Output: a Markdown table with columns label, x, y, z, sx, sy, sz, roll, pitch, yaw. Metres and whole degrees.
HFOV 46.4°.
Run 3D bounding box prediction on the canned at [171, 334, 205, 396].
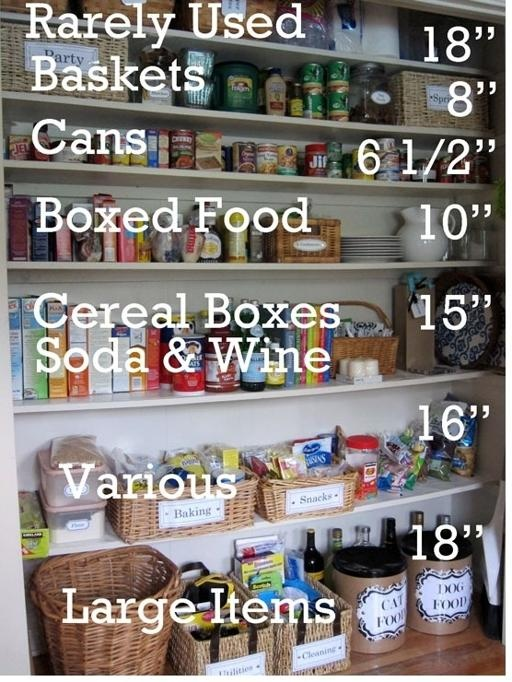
| label | x | y | z | sx | sy | sz | roll | pitch | yaw |
| --- | --- | --- | --- | --- | --- | --- | --- | --- | --- |
| canned | -0.215 | 0.072 | 1.830 | 0.159 | 0.177 | 0.153 | -1 | 2 | -22 |

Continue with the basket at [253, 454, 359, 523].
| label | x | y | z | sx | sy | sz | roll | pitch | yaw |
| --- | --- | --- | --- | --- | --- | --- | --- | --- | --- |
| basket | 0.164 | 0.472 | 1.873 | 0.231 | 0.087 | 0.158 | 0 | -2 | -21 |

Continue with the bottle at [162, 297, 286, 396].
| label | x | y | z | sx | sy | sz | roll | pitch | yaw |
| --- | --- | --- | --- | --- | --- | --- | --- | --- | --- |
| bottle | -0.105 | 0.029 | 1.866 | 0.350 | 0.261 | 0.118 | 0 | -1 | -29 |

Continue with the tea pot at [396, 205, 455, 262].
| label | x | y | z | sx | sy | sz | roll | pitch | yaw |
| --- | --- | --- | --- | --- | --- | --- | --- | --- | --- |
| tea pot | 0.584 | -0.376 | 2.099 | 0.173 | 0.200 | 0.223 | -7 | 7 | -39 |

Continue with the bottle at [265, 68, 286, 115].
| label | x | y | z | sx | sy | sz | roll | pitch | yaw |
| --- | --- | --- | --- | --- | --- | --- | --- | --- | --- |
| bottle | 0.057 | -0.765 | 1.836 | 0.066 | 0.144 | 0.056 | -4 | 8 | 0 |

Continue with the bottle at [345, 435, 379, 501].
| label | x | y | z | sx | sy | sz | roll | pitch | yaw |
| --- | --- | --- | --- | --- | --- | --- | --- | --- | --- |
| bottle | 0.349 | 0.449 | 2.109 | 0.150 | 0.213 | 0.152 | 1 | -1 | 0 |

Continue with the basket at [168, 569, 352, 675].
| label | x | y | z | sx | sy | sz | roll | pitch | yaw |
| --- | --- | --- | --- | --- | --- | --- | --- | --- | --- |
| basket | 0.047 | 0.860 | 1.712 | 0.356 | 0.130 | 0.341 | 3 | -8 | -22 |

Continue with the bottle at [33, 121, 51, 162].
| label | x | y | z | sx | sy | sz | roll | pitch | yaw |
| --- | --- | --- | --- | --- | --- | --- | --- | --- | --- |
| bottle | -0.571 | -0.522 | 1.584 | 0.043 | 0.098 | 0.086 | -3 | 8 | 3 |

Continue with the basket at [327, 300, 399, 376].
| label | x | y | z | sx | sy | sz | roll | pitch | yaw |
| --- | --- | --- | --- | --- | --- | --- | --- | --- | --- |
| basket | 0.365 | -0.018 | 2.209 | 0.292 | 0.258 | 0.201 | 0 | 1 | -5 |

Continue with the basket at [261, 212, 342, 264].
| label | x | y | z | sx | sy | sz | roll | pitch | yaw |
| --- | --- | --- | --- | --- | --- | --- | --- | --- | --- |
| basket | 0.221 | -0.336 | 1.995 | 0.290 | 0.157 | 0.287 | 8 | 11 | 37 |

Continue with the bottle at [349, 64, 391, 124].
| label | x | y | z | sx | sy | sz | roll | pitch | yaw |
| --- | --- | --- | --- | --- | --- | --- | --- | --- | --- |
| bottle | 0.385 | -0.853 | 2.066 | 0.152 | 0.180 | 0.195 | -8 | 17 | -15 |

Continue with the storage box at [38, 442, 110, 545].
| label | x | y | z | sx | sy | sz | roll | pitch | yaw |
| --- | --- | --- | --- | --- | --- | --- | --- | --- | --- |
| storage box | -0.560 | 0.418 | 1.701 | 0.195 | 0.276 | 0.285 | -2 | 5 | -23 |

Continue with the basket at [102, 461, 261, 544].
| label | x | y | z | sx | sy | sz | roll | pitch | yaw |
| --- | --- | --- | --- | --- | --- | --- | --- | --- | --- |
| basket | -0.223 | 0.461 | 1.766 | 0.306 | 0.105 | 0.217 | 0 | -3 | -23 |

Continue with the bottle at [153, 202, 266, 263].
| label | x | y | z | sx | sy | sz | roll | pitch | yaw |
| --- | --- | --- | --- | --- | --- | --- | --- | --- | --- |
| bottle | -0.154 | -0.329 | 1.825 | 0.250 | 0.134 | 0.067 | -2 | 4 | -35 |

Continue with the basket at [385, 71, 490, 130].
| label | x | y | z | sx | sy | sz | roll | pitch | yaw |
| --- | --- | --- | --- | --- | --- | --- | --- | --- | --- |
| basket | 0.596 | -0.812 | 2.012 | 0.279 | 0.126 | 0.146 | -1 | 3 | -20 |

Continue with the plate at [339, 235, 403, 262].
| label | x | y | z | sx | sy | sz | roll | pitch | yaw |
| --- | --- | --- | --- | --- | --- | --- | --- | --- | --- |
| plate | 0.390 | -0.293 | 2.021 | 0.124 | 0.045 | 0.120 | -1 | 3 | -25 |

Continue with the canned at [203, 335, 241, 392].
| label | x | y | z | sx | sy | sz | roll | pitch | yaw |
| --- | --- | --- | --- | --- | --- | --- | --- | --- | --- |
| canned | -0.091 | 0.061 | 1.887 | 0.146 | 0.229 | 0.138 | 0 | 0 | 3 |
